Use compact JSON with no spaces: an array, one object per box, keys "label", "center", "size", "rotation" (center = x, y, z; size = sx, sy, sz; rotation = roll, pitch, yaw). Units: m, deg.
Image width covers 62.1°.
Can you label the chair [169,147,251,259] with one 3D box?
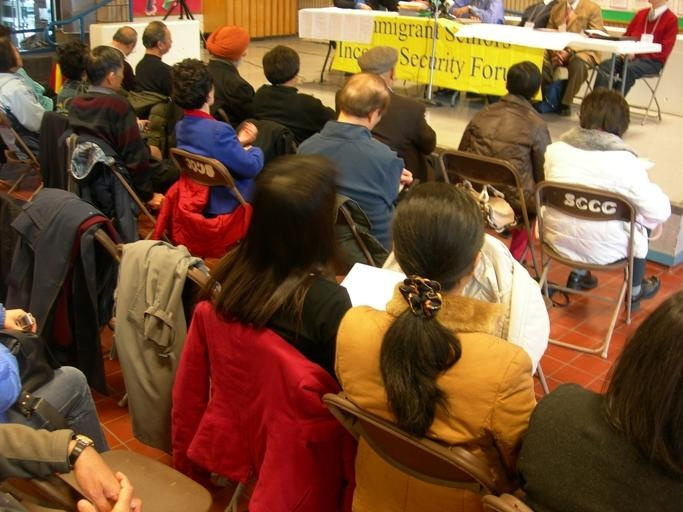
[{"label":"chair","center":[-0.731,-0.317,3.171],"size":[0.268,0.549,0.391],"rotation":[18,43,21]}]

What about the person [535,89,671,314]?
[{"label":"person","center":[1.682,-0.304,3.456],"size":[0.823,1.502,0.659],"rotation":[-21,28,-25]}]

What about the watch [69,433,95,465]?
[{"label":"watch","center":[-0.734,0.524,1.589],"size":[0.044,0.071,0.069],"rotation":[27,14,15]}]

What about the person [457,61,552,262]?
[{"label":"person","center":[1.229,-0.690,3.982],"size":[0.670,1.286,0.577],"rotation":[-28,39,-29]}]

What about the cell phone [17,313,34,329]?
[{"label":"cell phone","center":[-1.174,0.249,2.115],"size":[0.050,0.056,0.063],"rotation":[-8,-7,-1]}]

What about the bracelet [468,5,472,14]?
[{"label":"bracelet","center":[1.634,-3.122,7.156],"size":[0.038,0.070,0.052],"rotation":[17,57,21]}]

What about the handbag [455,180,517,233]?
[{"label":"handbag","center":[0.699,-0.247,2.666],"size":[0.192,0.106,0.284],"rotation":[-28,66,-27]}]

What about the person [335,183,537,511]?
[{"label":"person","center":[0.237,0.344,1.514],"size":[0.404,0.979,0.445],"rotation":[-7,21,-31]}]

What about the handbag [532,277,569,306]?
[{"label":"handbag","center":[1.194,0.204,3.206],"size":[0.129,0.183,0.174],"rotation":[-27,33,-37]}]

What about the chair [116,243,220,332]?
[{"label":"chair","center":[-0.645,0.124,2.062],"size":[0.195,0.313,0.163],"rotation":[17,14,20]}]
